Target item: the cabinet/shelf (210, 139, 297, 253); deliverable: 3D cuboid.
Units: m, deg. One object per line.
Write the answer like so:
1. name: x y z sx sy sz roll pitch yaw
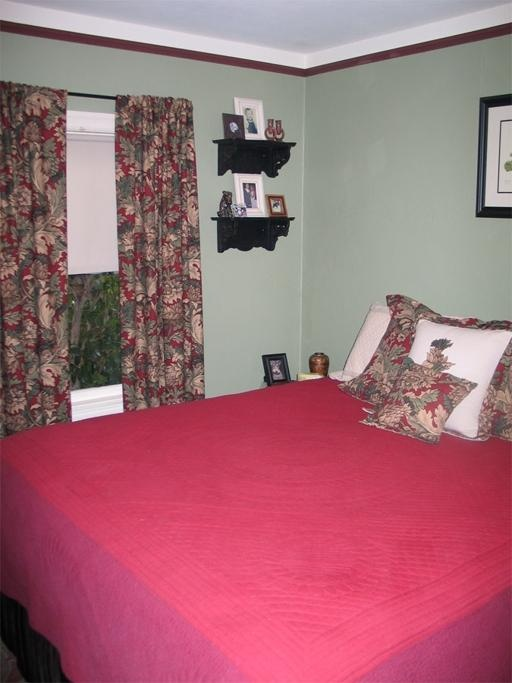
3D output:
1. cabinet/shelf: -0.040 -0.971 3.716 0.759 0.929 0.249 -7 10 -37

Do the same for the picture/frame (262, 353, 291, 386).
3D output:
1. picture/frame: 0.132 0.188 3.780 0.216 0.234 0.024 -9 -2 -37

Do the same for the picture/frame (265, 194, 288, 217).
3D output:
1. picture/frame: 0.133 -0.924 3.832 0.182 0.176 0.019 -7 1 -39

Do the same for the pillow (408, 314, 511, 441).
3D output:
1. pillow: 0.815 0.134 2.213 0.129 0.395 0.419 12 12 -25

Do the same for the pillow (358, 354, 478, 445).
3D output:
1. pillow: 0.642 0.228 2.182 0.088 0.296 0.326 31 1 -31

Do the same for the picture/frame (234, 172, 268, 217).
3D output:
1. picture/frame: -0.044 -0.965 3.716 0.322 0.364 0.049 -10 10 -38

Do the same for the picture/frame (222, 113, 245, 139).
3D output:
1. picture/frame: -0.146 -1.352 3.539 0.199 0.192 0.019 -9 15 -36
